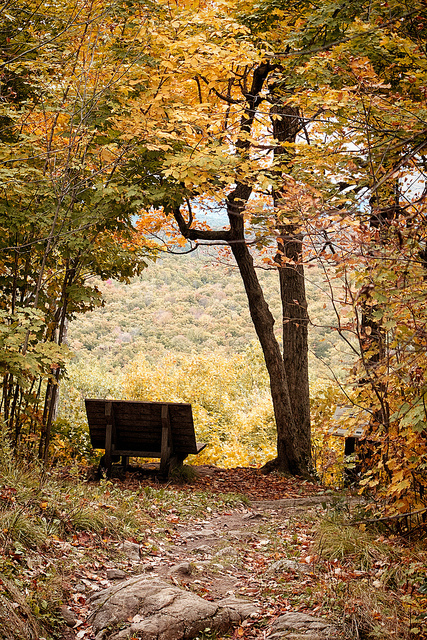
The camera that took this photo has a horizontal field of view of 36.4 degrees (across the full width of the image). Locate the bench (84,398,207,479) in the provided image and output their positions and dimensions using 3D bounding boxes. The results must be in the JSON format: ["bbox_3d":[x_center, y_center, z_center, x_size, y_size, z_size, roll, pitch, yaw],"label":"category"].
[{"bbox_3d":[-0.852,1.662,8.644,1.203,0.728,1.248,-2,-16,8],"label":"bench"}]
